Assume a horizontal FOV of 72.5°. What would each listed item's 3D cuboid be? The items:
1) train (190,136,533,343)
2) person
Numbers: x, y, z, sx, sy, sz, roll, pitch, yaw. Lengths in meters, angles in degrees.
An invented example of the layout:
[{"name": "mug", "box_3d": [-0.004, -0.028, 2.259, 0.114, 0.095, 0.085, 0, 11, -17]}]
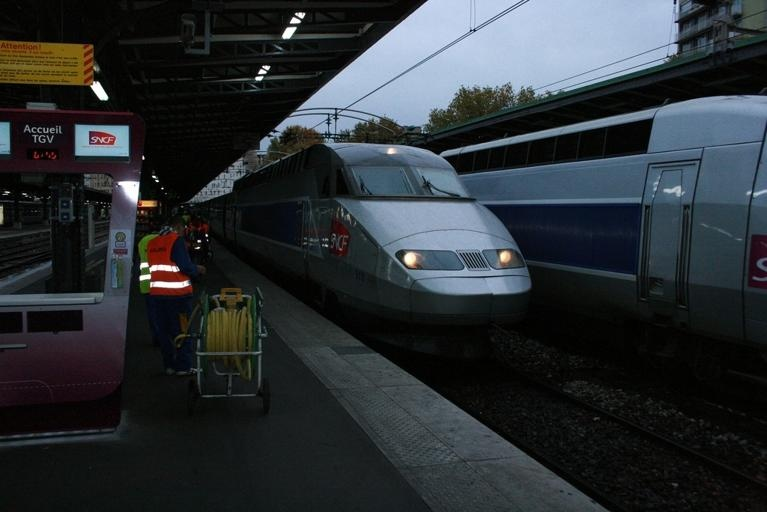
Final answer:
[{"name": "train", "box_3d": [-2.228, -1.056, 16.873, 3.327, 4.010, 19.272, 4, 3, -24]}, {"name": "person", "box_3d": [-2.892, 0.606, 7.236, 0.943, 2.216, 0.537, 8, 12, 39]}]
